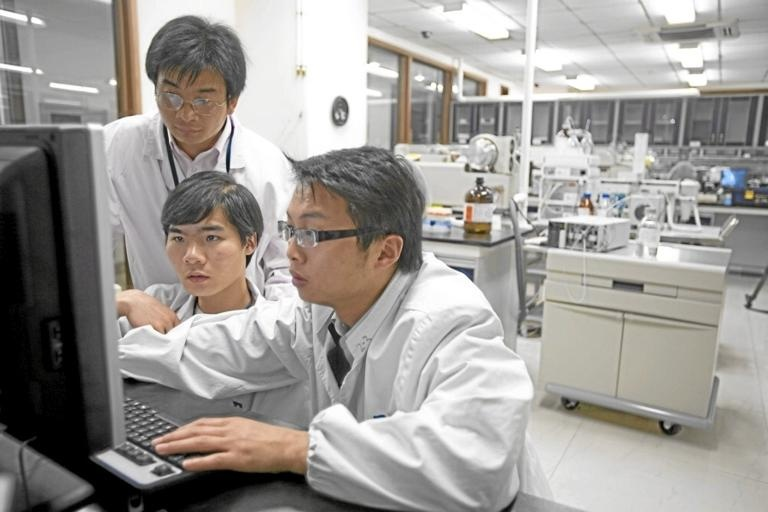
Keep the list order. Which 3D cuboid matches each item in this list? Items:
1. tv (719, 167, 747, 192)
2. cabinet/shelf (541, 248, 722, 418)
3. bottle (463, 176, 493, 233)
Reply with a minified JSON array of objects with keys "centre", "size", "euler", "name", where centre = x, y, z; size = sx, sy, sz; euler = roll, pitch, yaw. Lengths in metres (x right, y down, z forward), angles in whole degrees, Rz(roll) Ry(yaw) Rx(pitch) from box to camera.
[{"centre":[4.727,-1.013,7.252],"size":[0.371,0.338,0.131],"euler":[1,-2,32],"name":"tv"},{"centre":[1.501,0.304,3.175],"size":[0.923,0.671,0.922],"euler":[4,7,30],"name":"cabinet/shelf"},{"centre":[0.671,-0.353,3.782],"size":[0.222,0.376,0.209],"euler":[0,15,0],"name":"bottle"}]
